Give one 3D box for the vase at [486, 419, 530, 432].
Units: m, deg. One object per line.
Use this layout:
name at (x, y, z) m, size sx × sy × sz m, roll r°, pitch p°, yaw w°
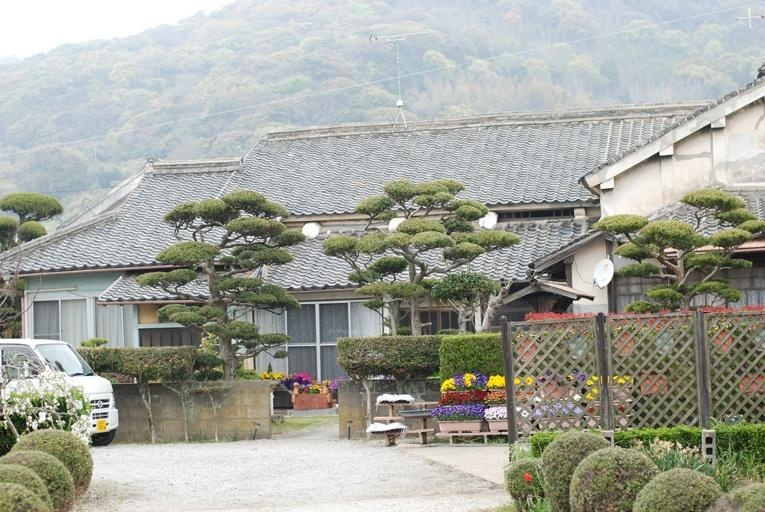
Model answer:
vase at (5.198, 7.117, 73.465) m, size 1.225 × 0.379 × 0.799 m, roll -1°, pitch -3°, yaw 10°
